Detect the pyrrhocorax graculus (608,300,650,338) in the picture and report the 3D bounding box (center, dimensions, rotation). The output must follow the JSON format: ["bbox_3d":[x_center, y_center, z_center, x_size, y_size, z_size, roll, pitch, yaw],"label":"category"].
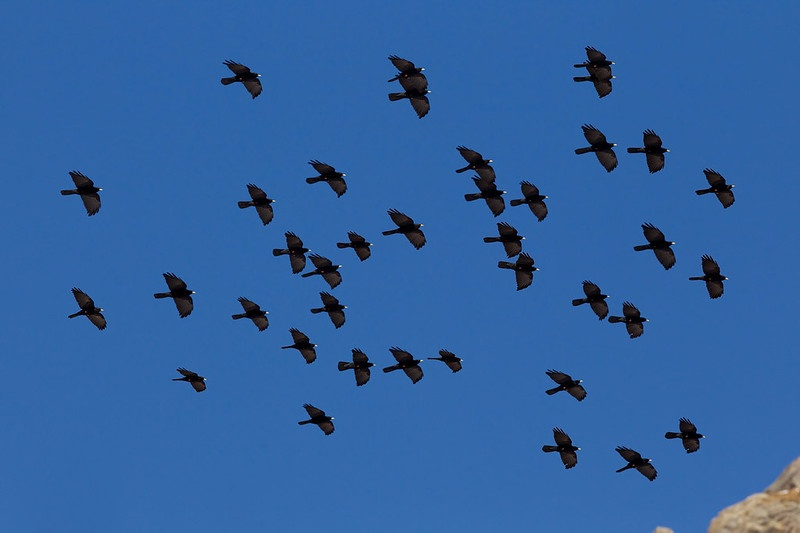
[{"bbox_3d":[11.335,2.755,95.045,2.227,2.328,0.695,9,-42,-9],"label":"pyrrhocorax graculus"}]

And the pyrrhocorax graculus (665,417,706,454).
[{"bbox_3d":[13.927,8.229,94.518,1.924,2.127,0.735,-5,-74,20],"label":"pyrrhocorax graculus"}]
